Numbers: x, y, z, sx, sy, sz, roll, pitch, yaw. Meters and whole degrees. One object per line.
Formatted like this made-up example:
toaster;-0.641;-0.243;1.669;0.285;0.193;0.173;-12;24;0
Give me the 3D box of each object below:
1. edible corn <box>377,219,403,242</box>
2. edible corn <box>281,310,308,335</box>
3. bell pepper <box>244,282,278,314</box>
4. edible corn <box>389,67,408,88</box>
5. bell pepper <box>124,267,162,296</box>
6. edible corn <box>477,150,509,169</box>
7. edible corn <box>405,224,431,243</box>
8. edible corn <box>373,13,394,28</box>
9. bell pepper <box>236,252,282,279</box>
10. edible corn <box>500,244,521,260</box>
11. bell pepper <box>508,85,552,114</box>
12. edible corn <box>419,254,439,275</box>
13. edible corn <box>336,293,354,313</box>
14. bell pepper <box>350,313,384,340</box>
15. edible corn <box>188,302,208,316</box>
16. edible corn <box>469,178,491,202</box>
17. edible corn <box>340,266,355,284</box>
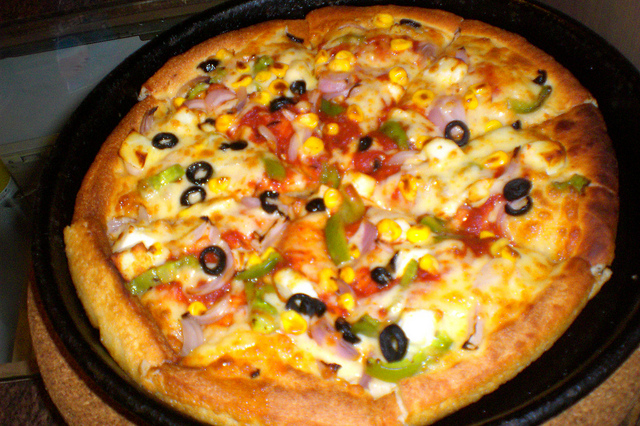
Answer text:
edible corn;0.564;0.134;4.566;0.189;0.049;0.174;-5;85;1
edible corn;-0.180;0.815;4.355;0.166;0.044;0.190;-21;84;0
bell pepper;-0.450;0.644;4.456;0.284;0.132;0.215;5;85;2
edible corn;0.716;-1.221;5.189;0.139;0.096;0.173;-13;78;-5
bell pepper;-1.382;0.546;4.624;0.298;0.079;0.186;-35;89;4
edible corn;1.419;-0.424;4.679;0.212;0.058;0.118;-35;60;2
edible corn;0.777;0.157;4.525;0.126;0.159;0.085;0;116;31
edible corn;0.624;-1.851;5.562;0.148;0.035;0.151;-1;69;1
bell pepper;-0.454;0.419;4.464;0.357;0.100;0.153;-35;85;0
edible corn;1.476;0.299;4.453;0.168;0.097;0.112;8;85;3
bell pepper;1.849;-0.973;5.042;0.220;0.088;0.298;27;74;39
edible corn;0.848;0.384;4.394;0.160;0.037;0.120;27;86;4
edible corn;0.217;0.666;4.388;0.144;0.038;0.107;42;87;5
bell pepper;0.361;0.852;4.314;0.211;0.064;0.169;30;86;4
edible corn;-0.940;0.730;4.473;0.129;0.073;0.105;-29;84;-1
edible corn;1.286;-0.185;4.605;0.191;0.042;0.146;-17;84;0
edible corn;0.225;0.472;4.466;0.130;0.054;0.106;40;87;5
